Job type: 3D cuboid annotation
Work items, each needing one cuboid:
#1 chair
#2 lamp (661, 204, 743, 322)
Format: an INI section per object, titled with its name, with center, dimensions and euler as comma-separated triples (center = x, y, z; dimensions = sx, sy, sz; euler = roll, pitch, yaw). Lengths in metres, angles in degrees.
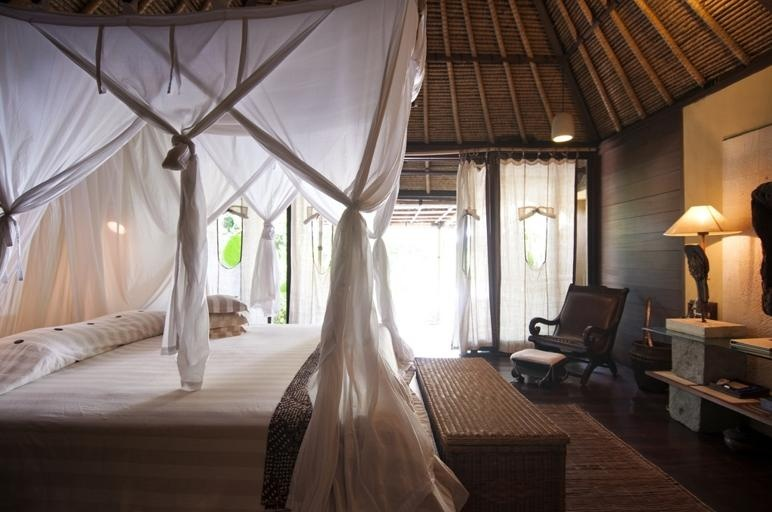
[chair]
center = 2.282, 0.905, 6.048
dimensions = 0.856, 1.048, 0.805
euler = -2, 4, -32
[lamp]
center = 3.073, 0.022, 4.941
dimensions = 0.588, 1.031, 0.542
euler = -6, 17, -36
